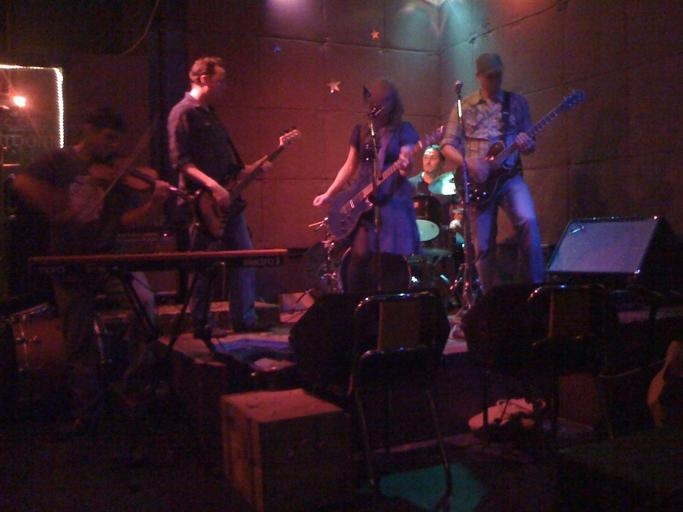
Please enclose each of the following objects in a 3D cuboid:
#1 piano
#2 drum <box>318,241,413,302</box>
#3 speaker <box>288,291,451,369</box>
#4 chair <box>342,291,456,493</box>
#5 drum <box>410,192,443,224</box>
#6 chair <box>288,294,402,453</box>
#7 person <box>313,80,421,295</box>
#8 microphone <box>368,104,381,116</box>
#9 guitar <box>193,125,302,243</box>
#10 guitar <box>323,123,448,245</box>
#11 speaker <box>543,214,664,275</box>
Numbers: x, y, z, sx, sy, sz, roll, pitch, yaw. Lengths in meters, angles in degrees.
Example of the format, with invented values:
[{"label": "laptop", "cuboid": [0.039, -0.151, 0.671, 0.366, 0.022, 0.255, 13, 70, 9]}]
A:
[{"label": "piano", "cuboid": [-1.159, 0.026, 4.073, 1.593, 0.228, 0.192, 3, 3, -2]}, {"label": "drum", "cuboid": [0.125, 0.153, 5.370, 0.533, 0.282, 0.748, 2, -7, -35]}, {"label": "speaker", "cuboid": [0.005, 0.471, 3.956, 0.722, 0.511, 0.572, 1, 0, -27]}, {"label": "chair", "cuboid": [0.393, 0.834, 4.039, 0.694, 1.279, 0.529, 3, 3, 2]}, {"label": "drum", "cuboid": [1.031, -0.576, 7.446, 0.379, 0.537, 0.282, -1, 0, -28]}, {"label": "chair", "cuboid": [-0.075, 0.576, 3.955, 0.630, 0.889, 0.634, 4, 5, 44]}, {"label": "person", "cuboid": [0.261, -0.564, 5.282, 0.472, 1.745, 0.909, 1, 4, -31]}, {"label": "microphone", "cuboid": [0.270, -1.176, 5.043, 0.066, 0.025, 0.091, 3, -37, 4]}, {"label": "guitar", "cuboid": [-0.908, -0.586, 5.485, 0.367, 0.852, 0.800, 5, 4, 26]}, {"label": "guitar", "cuboid": [0.441, -0.648, 5.901, 0.217, 0.564, 1.548, 1, -33, -39]}, {"label": "speaker", "cuboid": [2.157, -0.091, 5.221, 0.640, 0.426, 1.036, -27, 17, -36]}]
